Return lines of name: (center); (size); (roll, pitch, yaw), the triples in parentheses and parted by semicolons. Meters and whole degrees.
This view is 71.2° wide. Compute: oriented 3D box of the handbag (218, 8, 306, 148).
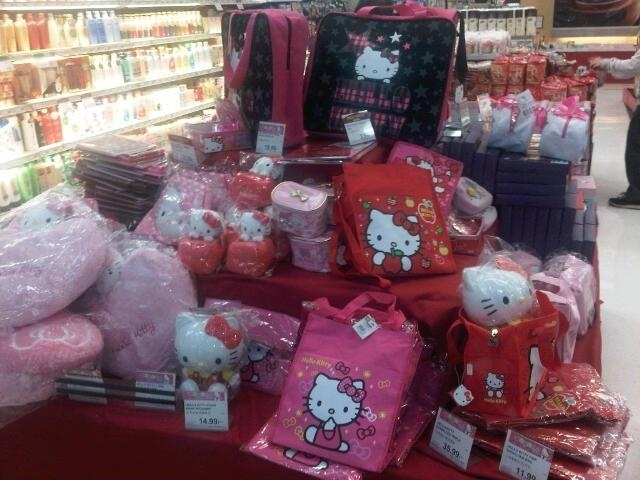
handbag: (-0.270, -0.783, 2.182); (0.494, 0.680, 0.356); (22, 32, 36)

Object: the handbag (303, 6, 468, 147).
handbag: (0.359, -0.888, 2.425); (0.724, 0.748, 0.769); (9, 47, 11)

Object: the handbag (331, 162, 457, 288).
handbag: (0.224, -0.023, 1.929); (0.577, 0.618, 0.432); (1, -14, -13)

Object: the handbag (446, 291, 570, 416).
handbag: (0.681, 0.386, 1.584); (0.289, 0.304, 0.420); (-2, 8, 39)
